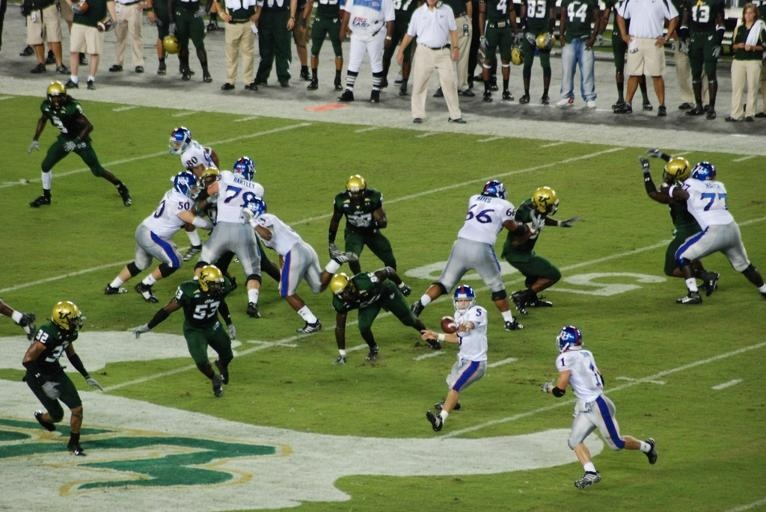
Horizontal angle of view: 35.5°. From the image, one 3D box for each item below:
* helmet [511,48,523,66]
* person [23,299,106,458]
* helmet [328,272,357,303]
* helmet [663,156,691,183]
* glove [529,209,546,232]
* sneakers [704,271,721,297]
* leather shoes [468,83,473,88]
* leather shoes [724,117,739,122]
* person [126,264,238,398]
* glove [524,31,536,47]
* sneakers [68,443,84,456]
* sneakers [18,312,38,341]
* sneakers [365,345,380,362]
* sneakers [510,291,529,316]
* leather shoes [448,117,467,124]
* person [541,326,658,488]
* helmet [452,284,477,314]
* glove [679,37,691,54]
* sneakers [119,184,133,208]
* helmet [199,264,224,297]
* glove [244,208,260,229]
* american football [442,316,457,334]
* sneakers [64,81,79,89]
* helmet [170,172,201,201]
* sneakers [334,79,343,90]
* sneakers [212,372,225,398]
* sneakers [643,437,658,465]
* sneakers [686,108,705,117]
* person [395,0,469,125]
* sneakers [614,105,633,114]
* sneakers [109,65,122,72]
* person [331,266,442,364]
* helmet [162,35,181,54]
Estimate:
[{"bbox_3d":[2.873,-4.185,25.542,0.237,0.374,0.421,-2,9,-7],"label":"helmet"},{"bbox_3d":[-3.514,1.277,12.895,0.702,1.555,0.850,-2,5,-14],"label":"person"},{"bbox_3d":[-0.533,0.354,14.432,0.263,0.279,0.321,-16,38,23],"label":"helmet"},{"bbox_3d":[4.123,-1.168,16.661,0.426,0.264,0.369,4,-7,22],"label":"helmet"},{"bbox_3d":[2.079,-0.472,15.995,0.115,0.278,0.213,-28,-12,-26],"label":"glove"},{"bbox_3d":[4.528,0.365,16.392,0.220,0.380,0.148,2,26,-2],"label":"sneakers"},{"bbox_3d":[1.953,-3.688,26.476,0.138,0.101,0.116,-2,4,0],"label":"leather shoes"},{"bbox_3d":[6.815,-2.601,23.355,0.285,0.078,0.098,2,-20,9],"label":"leather shoes"},{"bbox_3d":[-2.041,0.871,13.860,0.646,1.503,0.468,-4,6,-28],"label":"person"},{"bbox_3d":[3.078,-4.409,24.810,0.145,0.343,0.155,-21,-13,-29],"label":"glove"},{"bbox_3d":[-3.244,2.018,12.670,0.236,0.084,0.077,12,27,24],"label":"sneakers"},{"bbox_3d":[-4.291,0.847,14.428,0.153,0.390,0.187,-16,-14,-36],"label":"sneakers"},{"bbox_3d":[-0.119,1.205,14.820,0.095,0.100,0.245,1,11,7],"label":"sneakers"},{"bbox_3d":[1.852,0.618,16.095,0.199,0.377,0.137,-17,44,6],"label":"sneakers"},{"bbox_3d":[1.487,-2.628,23.682,0.313,0.116,0.116,4,41,2],"label":"leather shoes"},{"bbox_3d":[2.194,1.507,12.274,0.841,1.526,0.635,-4,6,-28],"label":"person"},{"bbox_3d":[0.932,0.474,13.467,0.277,0.275,0.326,-4,1,10],"label":"helmet"},{"bbox_3d":[5.968,-4.047,23.569,0.171,0.213,0.171,-4,13,-6],"label":"glove"},{"bbox_3d":[-4.226,-0.956,19.417,0.164,0.379,0.171,-23,40,-4],"label":"sneakers"},{"bbox_3d":[-2.009,0.275,13.685,0.269,0.249,0.342,-10,30,-38],"label":"helmet"},{"bbox_3d":[-1.720,-0.475,15.548,0.136,0.243,0.192,-37,5,19],"label":"glove"},{"bbox_3d":[0.744,0.767,13.405,0.158,0.103,0.186,28,-4,-12],"label":"american football"},{"bbox_3d":[-6.646,-3.589,25.764,0.410,0.138,0.134,11,-1,-5],"label":"sneakers"},{"bbox_3d":[-2.626,-0.951,16.323,0.444,0.358,0.309,11,13,-27],"label":"helmet"},{"bbox_3d":[-0.984,-3.668,26.214,0.308,0.256,0.100,-7,47,-10],"label":"sneakers"},{"bbox_3d":[-1.895,1.491,13.914,0.125,0.267,0.135,-3,18,-6],"label":"sneakers"},{"bbox_3d":[2.767,1.990,12.316,0.129,0.290,0.150,0,24,32],"label":"sneakers"},{"bbox_3d":[6.269,-2.808,23.914,0.441,0.138,0.144,1,14,-7],"label":"sneakers"},{"bbox_3d":[1.029,-3.723,23.371,0.938,2.358,1.336,-2,5,-16],"label":"person"},{"bbox_3d":[4.855,-2.886,24.113,0.382,0.143,0.148,2,14,-8],"label":"sneakers"},{"bbox_3d":[-6.178,-4.245,27.655,0.368,0.145,0.108,3,33,2],"label":"sneakers"},{"bbox_3d":[0.082,0.703,14.930,0.851,1.114,2.094,-9,1,34],"label":"person"},{"bbox_3d":[-4.637,-4.544,26.263,0.370,0.360,0.391,0,9,-1],"label":"helmet"}]
